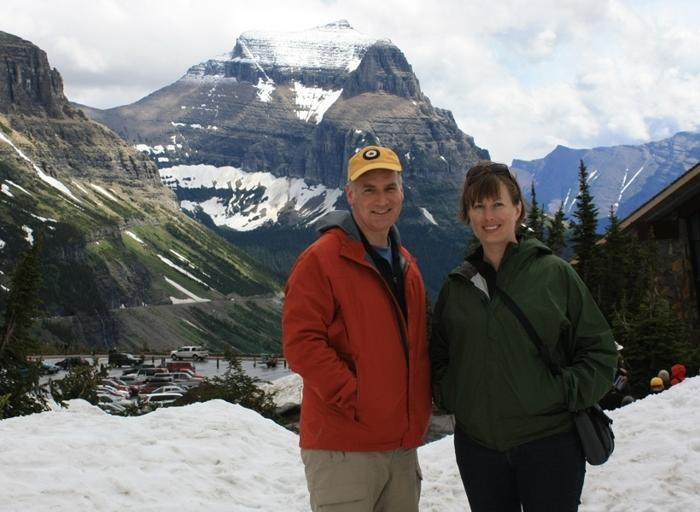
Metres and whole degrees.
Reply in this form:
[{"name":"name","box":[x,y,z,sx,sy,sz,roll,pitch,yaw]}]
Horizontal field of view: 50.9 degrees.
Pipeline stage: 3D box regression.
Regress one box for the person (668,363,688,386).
[{"name":"person","box":[9.133,3.285,20.521,0.357,0.505,1.020,-1,-5,21]}]

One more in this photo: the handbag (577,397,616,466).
[{"name":"handbag","box":[3.604,2.597,10.818,0.587,0.820,0.218,3,-6,-18]}]
